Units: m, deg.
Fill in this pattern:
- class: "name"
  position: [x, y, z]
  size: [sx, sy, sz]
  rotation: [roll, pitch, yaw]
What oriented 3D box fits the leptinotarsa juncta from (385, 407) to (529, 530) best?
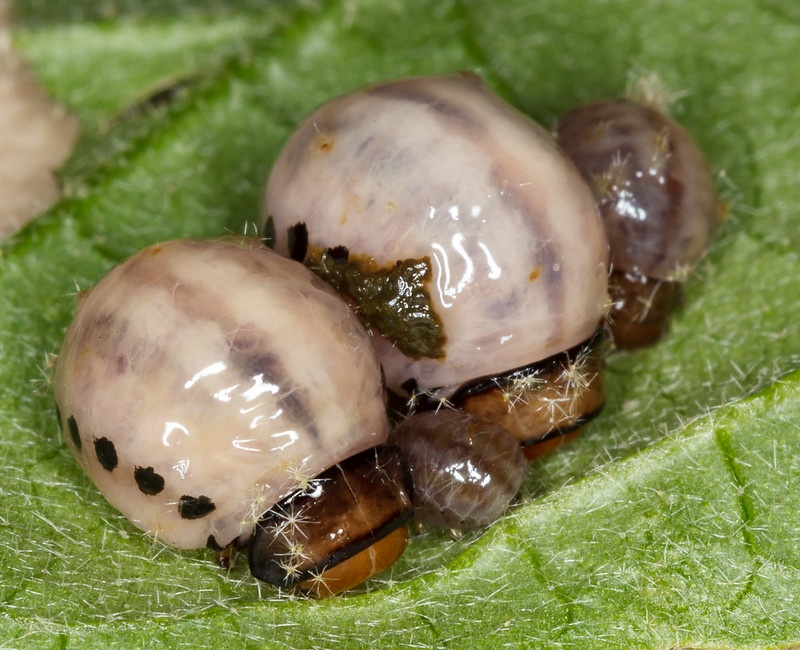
- class: "leptinotarsa juncta"
  position: [0.103, 0.266, 1.897]
  size: [0.216, 0.135, 0.181]
  rotation: [22, 71, 12]
